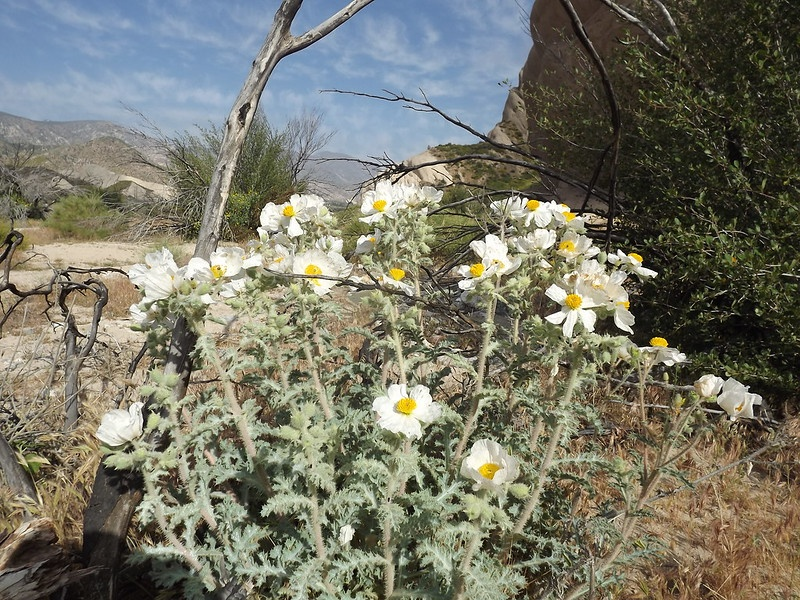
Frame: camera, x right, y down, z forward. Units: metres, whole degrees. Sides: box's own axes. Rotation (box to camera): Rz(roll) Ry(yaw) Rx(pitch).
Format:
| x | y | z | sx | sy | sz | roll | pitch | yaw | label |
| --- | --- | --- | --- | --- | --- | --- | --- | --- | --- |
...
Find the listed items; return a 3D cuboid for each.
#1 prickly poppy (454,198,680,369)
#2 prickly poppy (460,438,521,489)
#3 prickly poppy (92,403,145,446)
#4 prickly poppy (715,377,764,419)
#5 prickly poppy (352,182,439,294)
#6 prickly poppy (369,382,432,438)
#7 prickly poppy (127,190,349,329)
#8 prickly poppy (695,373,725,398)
| x | y | z | sx | sy | sz | roll | pitch | yaw | label |
| --- | --- | --- | --- | --- | --- | --- | --- | --- | --- |
| 1.010 | -0.150 | 3.196 | 1.179 | 0.549 | 0.789 | 17 | 11 | 22 | prickly poppy |
| 0.457 | 0.846 | 2.804 | 0.294 | 0.164 | 0.381 | -9 | -3 | 6 | prickly poppy |
| -1.526 | 0.675 | 2.994 | 0.197 | 0.264 | 0.092 | 18 | 4 | -23 | prickly poppy |
| 2.016 | 0.614 | 3.218 | 0.198 | 0.228 | 0.341 | 20 | 12 | 36 | prickly poppy |
| -0.030 | -0.423 | 3.444 | 0.494 | 0.672 | 0.534 | 12 | 10 | 2 | prickly poppy |
| 0.053 | 0.594 | 2.885 | 0.325 | 0.115 | 0.315 | 3 | 11 | 39 | prickly poppy |
| -0.873 | -0.217 | 3.223 | 0.863 | 0.545 | 1.131 | 25 | 46 | 33 | prickly poppy |
| 1.811 | 0.484 | 3.173 | 0.142 | 0.155 | 0.131 | 8 | -2 | 7 | prickly poppy |
